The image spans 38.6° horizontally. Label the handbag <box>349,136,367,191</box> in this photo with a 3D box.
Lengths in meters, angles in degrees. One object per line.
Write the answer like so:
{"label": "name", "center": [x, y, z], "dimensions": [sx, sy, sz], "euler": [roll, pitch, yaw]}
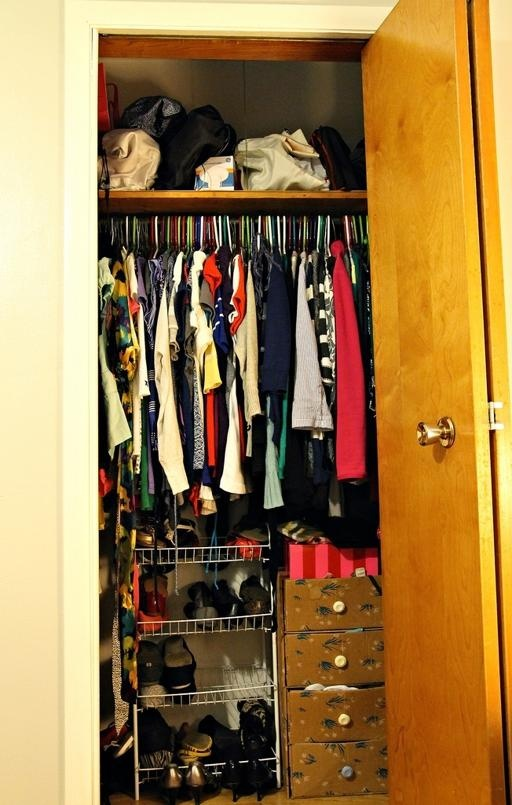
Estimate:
{"label": "handbag", "center": [0.339, -0.793, 2.429], "dimensions": [0.042, 0.215, 0.221], "euler": [-4, -4, 9]}

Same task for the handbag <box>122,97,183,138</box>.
{"label": "handbag", "center": [-0.337, -0.932, 2.395], "dimensions": [0.159, 0.145, 0.068], "euler": [-42, -26, -12]}

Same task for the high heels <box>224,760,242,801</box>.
{"label": "high heels", "center": [-0.069, 1.163, 2.235], "dimensions": [0.032, 0.048, 0.118], "euler": [-3, 42, -9]}

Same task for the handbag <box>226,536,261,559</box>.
{"label": "handbag", "center": [-0.041, 0.504, 2.473], "dimensions": [0.083, 0.094, 0.035], "euler": [-1, 2, 1]}

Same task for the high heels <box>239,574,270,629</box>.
{"label": "high heels", "center": [-0.002, 0.676, 2.454], "dimensions": [0.075, 0.108, 0.139], "euler": [1, -22, -2]}

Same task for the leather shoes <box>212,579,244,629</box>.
{"label": "leather shoes", "center": [-0.092, 0.682, 2.452], "dimensions": [0.056, 0.093, 0.198], "euler": [-1, 8, -5]}

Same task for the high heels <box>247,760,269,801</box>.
{"label": "high heels", "center": [0.011, 1.171, 2.240], "dimensions": [0.033, 0.059, 0.132], "euler": [-3, 38, -5]}

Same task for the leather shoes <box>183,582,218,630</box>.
{"label": "leather shoes", "center": [-0.189, 0.694, 2.469], "dimensions": [0.054, 0.118, 0.155], "euler": [5, 32, -22]}

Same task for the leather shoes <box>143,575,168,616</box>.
{"label": "leather shoes", "center": [-0.326, 0.626, 2.329], "dimensions": [0.071, 0.143, 0.159], "euler": [-4, -5, -3]}

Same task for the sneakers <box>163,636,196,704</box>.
{"label": "sneakers", "center": [-0.248, 0.858, 2.335], "dimensions": [0.115, 0.198, 0.049], "euler": [-12, -9, -28]}
